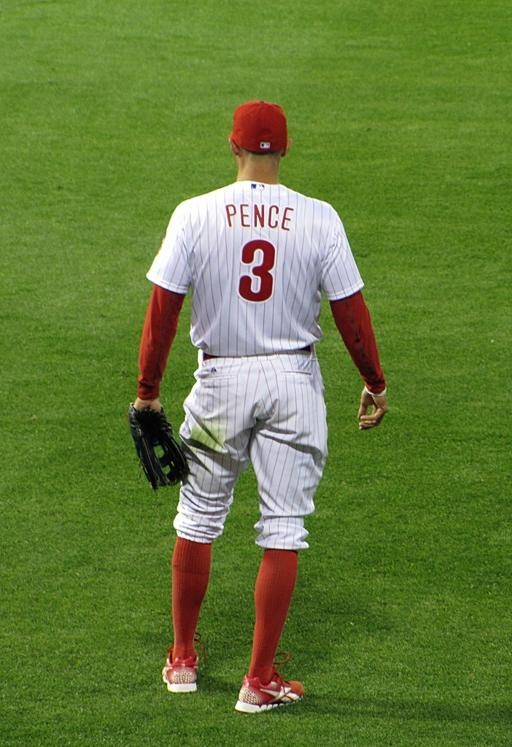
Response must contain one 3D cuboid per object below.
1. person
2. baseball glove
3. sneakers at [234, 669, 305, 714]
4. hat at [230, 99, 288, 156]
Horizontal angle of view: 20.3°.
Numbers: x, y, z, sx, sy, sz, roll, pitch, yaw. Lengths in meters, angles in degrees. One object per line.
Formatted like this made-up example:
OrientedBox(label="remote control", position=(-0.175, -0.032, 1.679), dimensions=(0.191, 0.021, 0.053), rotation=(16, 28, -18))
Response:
OrientedBox(label="person", position=(0.014, -0.051, 4.685), dimensions=(0.748, 2.451, 0.695), rotation=(2, 37, 2))
OrientedBox(label="baseball glove", position=(-0.315, 0.283, 4.588), dimensions=(0.138, 0.338, 0.099), rotation=(-8, -13, -29))
OrientedBox(label="sneakers", position=(0.039, 0.995, 4.505), dimensions=(0.235, 0.147, 0.089), rotation=(-10, 11, -37))
OrientedBox(label="hat", position=(0.011, -0.762, 4.429), dimensions=(0.148, 0.179, 0.250), rotation=(0, 2, -13))
